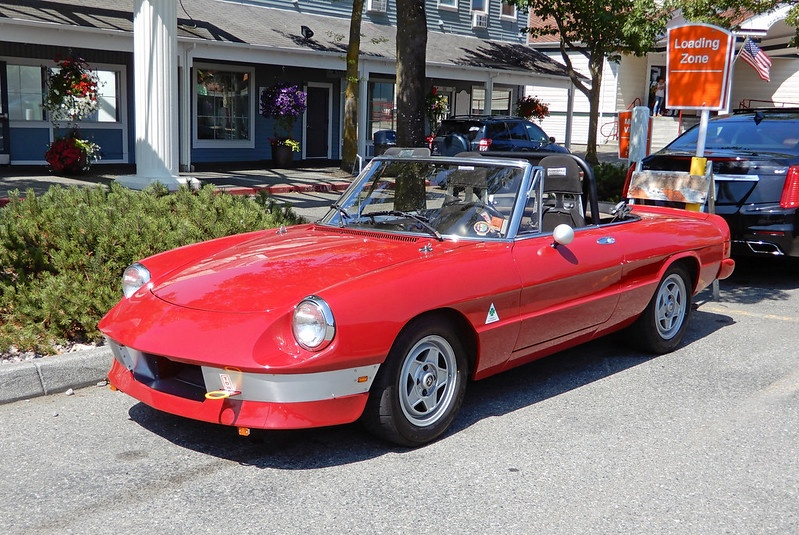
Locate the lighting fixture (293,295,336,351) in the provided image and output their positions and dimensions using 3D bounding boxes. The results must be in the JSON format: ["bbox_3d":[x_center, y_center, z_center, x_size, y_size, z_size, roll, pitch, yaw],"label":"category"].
[{"bbox_3d":[-0.535,0.359,3.626,0.298,0.318,0.144,5,2,21],"label":"lighting fixture"}]

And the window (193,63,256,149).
[{"bbox_3d":[-6.487,-5.776,21.306,0.140,2.826,2.497,22,24,40],"label":"window"}]

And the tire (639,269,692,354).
[{"bbox_3d":[2.650,0.421,5.861,0.239,0.712,0.730,11,-5,43],"label":"tire"}]

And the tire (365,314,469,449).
[{"bbox_3d":[0.084,0.770,4.011,0.318,0.954,0.978,7,4,41],"label":"tire"}]

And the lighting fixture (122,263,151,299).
[{"bbox_3d":[-2.064,0.108,4.558,0.200,0.268,0.124,42,4,29],"label":"lighting fixture"}]

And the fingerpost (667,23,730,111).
[{"bbox_3d":[4.256,-2.837,8.324,0.134,1.171,0.958,-28,32,-28],"label":"fingerpost"}]
